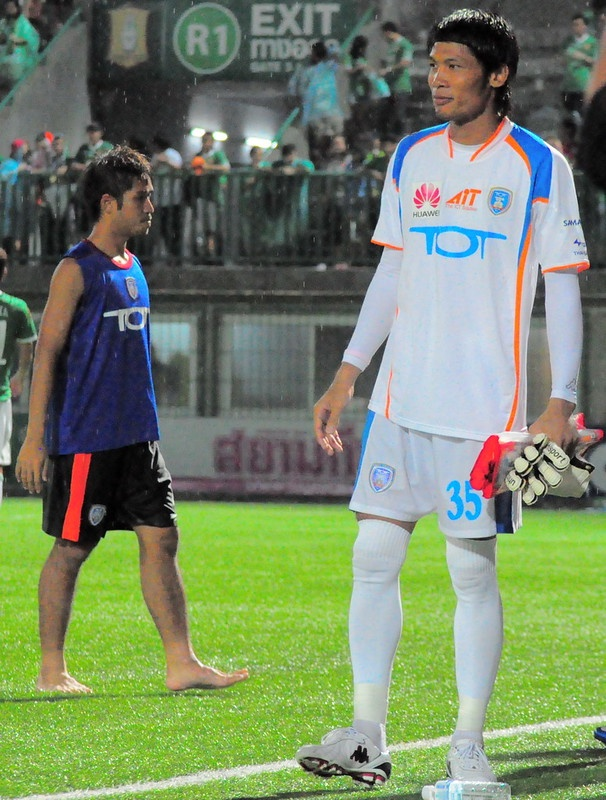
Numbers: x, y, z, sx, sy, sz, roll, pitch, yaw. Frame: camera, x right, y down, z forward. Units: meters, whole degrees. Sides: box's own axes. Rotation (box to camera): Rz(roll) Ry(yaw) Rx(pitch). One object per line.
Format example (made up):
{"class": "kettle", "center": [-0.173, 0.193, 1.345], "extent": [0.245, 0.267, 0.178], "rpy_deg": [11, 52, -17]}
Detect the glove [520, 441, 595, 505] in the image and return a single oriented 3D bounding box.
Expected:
{"class": "glove", "center": [0.576, 0.176, 3.765], "extent": [0.160, 0.135, 0.074], "rpy_deg": [30, -11, -12]}

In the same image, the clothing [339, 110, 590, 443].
{"class": "clothing", "center": [0.383, -0.299, 3.906], "extent": [0.473, 0.745, 0.248], "rpy_deg": [11, 21, 20]}

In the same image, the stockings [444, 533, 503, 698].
{"class": "stockings", "center": [0.404, 0.510, 3.825], "extent": [0.125, 0.364, 0.099], "rpy_deg": [1, 2, 4]}

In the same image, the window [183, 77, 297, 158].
{"class": "window", "center": [-0.242, -0.984, 5.839], "extent": [0.403, 0.271, 0.193], "rpy_deg": [1, 3, 11]}

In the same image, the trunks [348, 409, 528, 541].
{"class": "trunks", "center": [0.342, 0.254, 3.946], "extent": [0.406, 0.384, 0.250], "rpy_deg": [12, -5, 25]}

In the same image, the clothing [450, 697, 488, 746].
{"class": "clothing", "center": [0.386, 0.742, 3.782], "extent": [0.075, 0.104, 0.084], "rpy_deg": [1, 3, 11]}

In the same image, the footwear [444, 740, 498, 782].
{"class": "footwear", "center": [0.383, 0.823, 3.733], "extent": [0.121, 0.090, 0.108], "rpy_deg": [1, 3, 13]}
